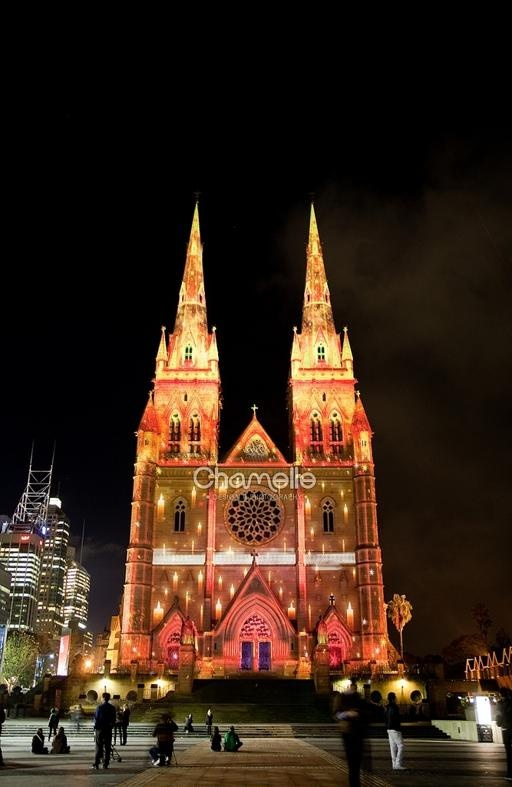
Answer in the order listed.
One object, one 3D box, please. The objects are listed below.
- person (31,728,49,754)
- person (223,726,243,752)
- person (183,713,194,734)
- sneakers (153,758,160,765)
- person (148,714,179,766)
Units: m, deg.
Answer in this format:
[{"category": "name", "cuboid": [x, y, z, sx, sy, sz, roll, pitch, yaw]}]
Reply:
[{"category": "person", "cuboid": [-6.089, 9.825, 17.853, 0.429, 0.576, 1.823, 6, -25, -16]}, {"category": "person", "cuboid": [-0.751, 10.758, 19.547, 0.477, 0.591, 1.600, 1, -24, -3]}, {"category": "person", "cuboid": [-3.155, 15.524, 29.598, 0.443, 0.717, 1.282, 2, -23, -5]}, {"category": "sneakers", "cuboid": [-2.152, 7.955, 13.614, 0.104, 0.062, 0.167, -1, -23, -3]}, {"category": "person", "cuboid": [-1.996, 7.493, 13.599, 0.451, 1.015, 0.410, 7, -50, -11]}]
